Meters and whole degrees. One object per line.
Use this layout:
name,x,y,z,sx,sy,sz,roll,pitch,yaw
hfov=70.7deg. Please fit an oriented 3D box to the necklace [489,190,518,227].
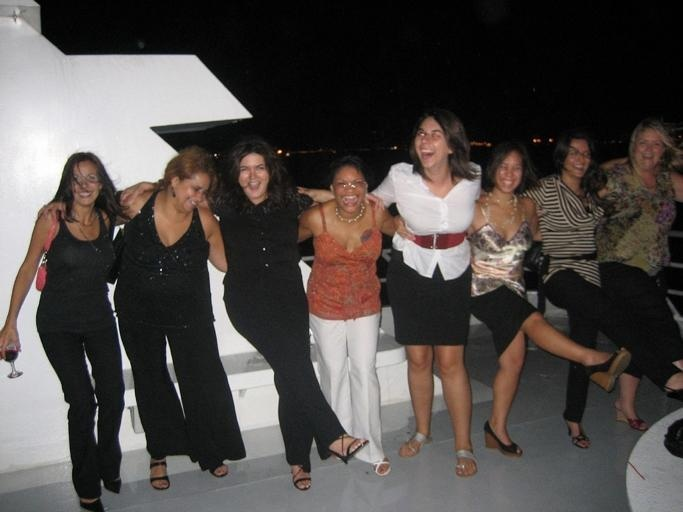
necklace,1.178,-0.343,3.487,0.164,0.225,0.116,3,-1,-16

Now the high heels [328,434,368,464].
high heels,0.040,1.226,3.079,0.222,0.168,0.109,9,17,38

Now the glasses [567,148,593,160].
glasses,1.763,-0.764,3.617,0.093,0.047,0.117,9,3,-4

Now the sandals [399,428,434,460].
sandals,0.539,1.366,3.502,0.107,0.125,0.299,-5,-12,44

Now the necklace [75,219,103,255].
necklace,-1.592,-0.128,3.070,0.053,0.219,0.155,-1,8,42

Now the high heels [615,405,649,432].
high heels,2.271,1.265,3.755,0.097,0.065,0.242,-19,18,-19

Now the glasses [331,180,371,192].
glasses,0.053,-0.469,3.173,0.232,0.072,0.119,-1,13,3

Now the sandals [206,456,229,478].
sandals,-0.859,1.446,3.311,0.075,0.086,0.219,1,-3,-37

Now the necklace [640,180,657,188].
necklace,2.353,-0.551,3.676,0.088,0.022,0.083,-5,32,-3

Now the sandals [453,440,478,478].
sandals,0.864,1.387,3.333,0.139,0.112,0.380,-12,-2,15

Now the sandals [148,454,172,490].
sandals,-1.259,1.457,3.308,0.123,0.123,0.368,-1,3,-20

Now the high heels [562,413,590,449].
high heels,1.746,1.282,3.565,0.100,0.120,0.298,-4,16,6
